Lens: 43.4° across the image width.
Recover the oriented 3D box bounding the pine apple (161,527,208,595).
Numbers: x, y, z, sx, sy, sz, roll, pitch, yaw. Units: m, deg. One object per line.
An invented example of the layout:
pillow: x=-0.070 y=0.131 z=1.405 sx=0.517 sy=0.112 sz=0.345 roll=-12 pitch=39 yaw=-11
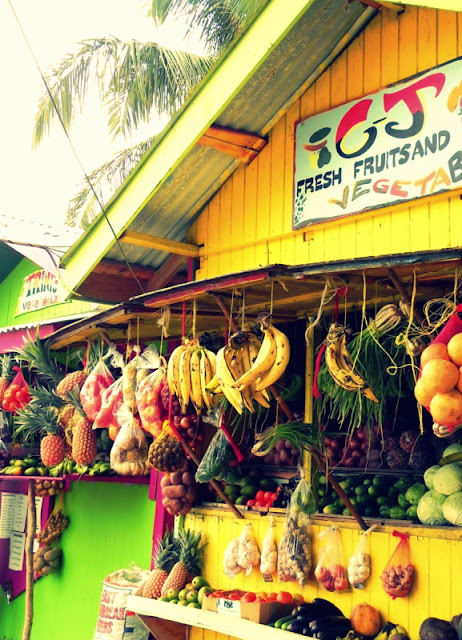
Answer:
pine apple: x=-0.354 y=1.866 z=4.420 sx=0.279 sy=0.477 sz=0.238 roll=0 pitch=-3 yaw=-35

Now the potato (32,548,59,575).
potato: x=-2.023 y=2.706 z=6.518 sx=0.326 sy=0.250 sz=0.133 roll=-33 pitch=-9 yaw=15

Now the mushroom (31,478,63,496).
mushroom: x=-2.094 y=1.951 z=6.681 sx=0.304 sy=0.173 sz=0.537 roll=14 pitch=-21 yaw=-27

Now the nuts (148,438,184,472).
nuts: x=-0.467 y=0.989 z=4.263 sx=0.275 sy=0.247 sz=0.240 roll=6 pitch=-19 yaw=-5

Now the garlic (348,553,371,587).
garlic: x=0.738 y=1.430 z=3.303 sx=0.131 sy=0.186 sz=0.077 roll=13 pitch=10 yaw=35

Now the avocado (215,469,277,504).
avocado: x=0.124 y=1.216 z=4.276 sx=0.433 sy=0.259 sz=0.240 roll=10 pitch=17 yaw=-10

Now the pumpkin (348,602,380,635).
pumpkin: x=0.734 y=1.627 z=3.165 sx=0.108 sy=0.147 sz=0.112 roll=0 pitch=-1 yaw=7
